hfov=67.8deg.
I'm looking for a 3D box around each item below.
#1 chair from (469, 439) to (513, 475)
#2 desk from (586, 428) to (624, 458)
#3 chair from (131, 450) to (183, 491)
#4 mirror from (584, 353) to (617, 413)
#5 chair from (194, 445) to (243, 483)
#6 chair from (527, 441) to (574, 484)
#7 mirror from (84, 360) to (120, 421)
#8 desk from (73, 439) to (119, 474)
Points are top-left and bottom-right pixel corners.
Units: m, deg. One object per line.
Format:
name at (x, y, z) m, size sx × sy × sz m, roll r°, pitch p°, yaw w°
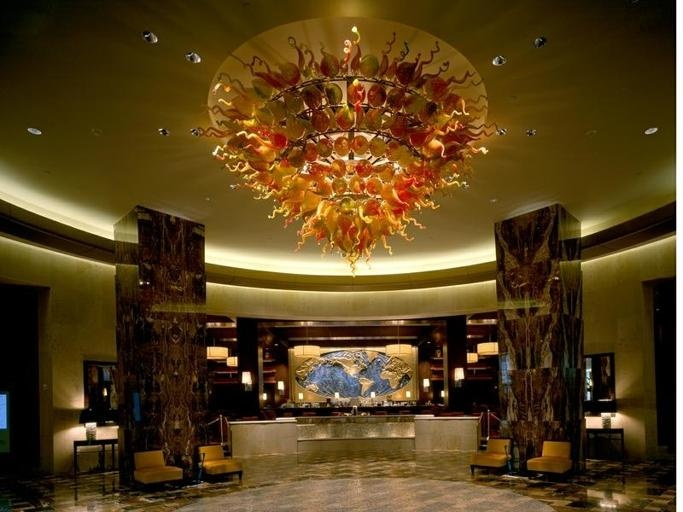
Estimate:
chair at (3.396, 4.496, 11.392) m, size 0.831 × 0.790 × 0.909 m, roll 6°, pitch -15°, yaw -14°
desk at (6.776, 4.748, 12.955) m, size 0.800 × 0.753 × 0.453 m, roll -7°, pitch -13°, yaw 43°
chair at (-3.675, 4.211, 10.100) m, size 0.918 × 0.682 × 1.047 m, roll 2°, pitch -17°, yaw -13°
mirror at (6.900, 3.358, 13.436) m, size 0.146 × 1.886 × 1.269 m, roll 6°, pitch -9°, yaw -24°
chair at (-2.720, 4.546, 11.249) m, size 0.917 × 0.780 × 0.999 m, roll 4°, pitch -17°, yaw -20°
chair at (4.360, 4.215, 10.498) m, size 0.801 × 0.730 × 0.888 m, roll 4°, pitch -16°, yaw -13°
mirror at (-6.173, 3.470, 13.015) m, size 0.121 × 1.900 × 1.525 m, roll -6°, pitch -11°, yaw 18°
desk at (-6.045, 4.940, 12.616) m, size 1.074 × 0.884 × 0.402 m, roll 9°, pitch -12°, yaw -43°
